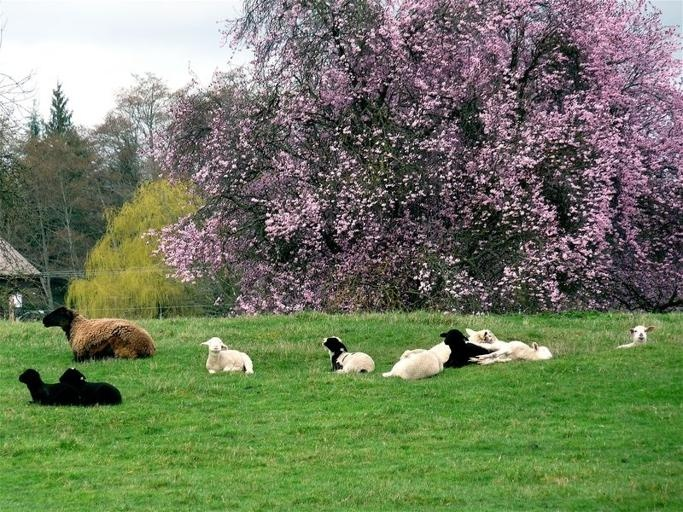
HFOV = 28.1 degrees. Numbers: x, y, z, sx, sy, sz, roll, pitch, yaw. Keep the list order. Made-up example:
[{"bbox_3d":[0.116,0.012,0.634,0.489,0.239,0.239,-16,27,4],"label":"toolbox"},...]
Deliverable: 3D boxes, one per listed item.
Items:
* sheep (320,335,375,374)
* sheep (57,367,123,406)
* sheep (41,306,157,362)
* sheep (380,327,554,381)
[{"bbox_3d":[0.194,2.956,40.704,1.507,0.970,0.887,3,8,30],"label":"sheep"},{"bbox_3d":[-7.084,3.710,38.661,1.705,1.052,0.377,-1,7,5],"label":"sheep"},{"bbox_3d":[-7.620,2.606,42.513,3.490,1.715,1.289,3,-12,13],"label":"sheep"},{"bbox_3d":[3.622,2.851,40.358,4.653,1.276,0.814,-3,7,-11],"label":"sheep"}]
